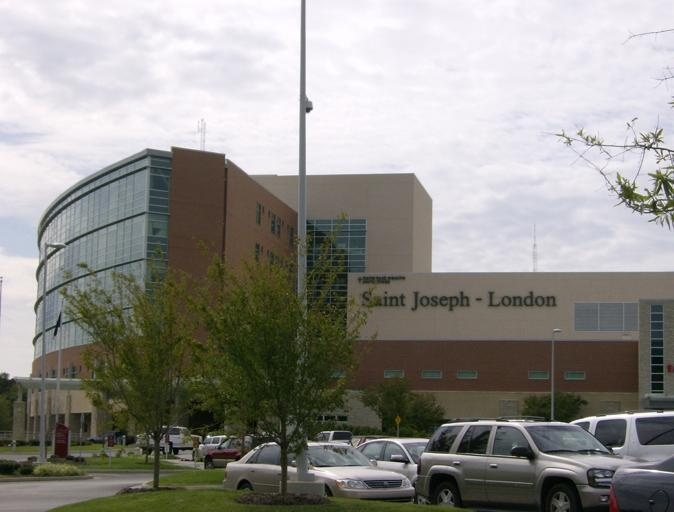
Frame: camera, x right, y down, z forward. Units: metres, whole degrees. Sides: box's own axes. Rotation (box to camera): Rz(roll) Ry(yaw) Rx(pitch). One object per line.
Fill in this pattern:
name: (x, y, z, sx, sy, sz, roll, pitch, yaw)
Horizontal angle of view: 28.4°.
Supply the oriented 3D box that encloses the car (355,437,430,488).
car: (2.358, 8.279, 54.481, 2.671, 1.107, 1.335, -2, -7, 42)
